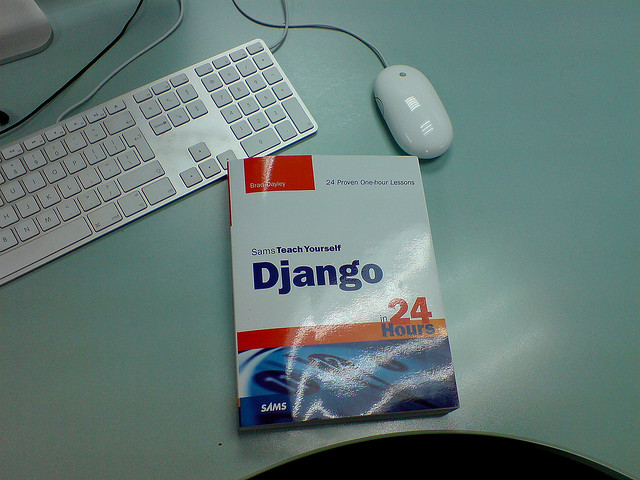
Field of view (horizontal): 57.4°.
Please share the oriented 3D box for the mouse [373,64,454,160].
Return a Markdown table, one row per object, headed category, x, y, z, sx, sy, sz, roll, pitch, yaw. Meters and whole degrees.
| category | x | y | z | sx | sy | sz | roll | pitch | yaw |
| --- | --- | --- | --- | --- | --- | --- | --- | --- | --- |
| mouse | 0.140 | -0.189 | 0.854 | 0.084 | 0.156 | 0.039 | -15 | -18 | -8 |
